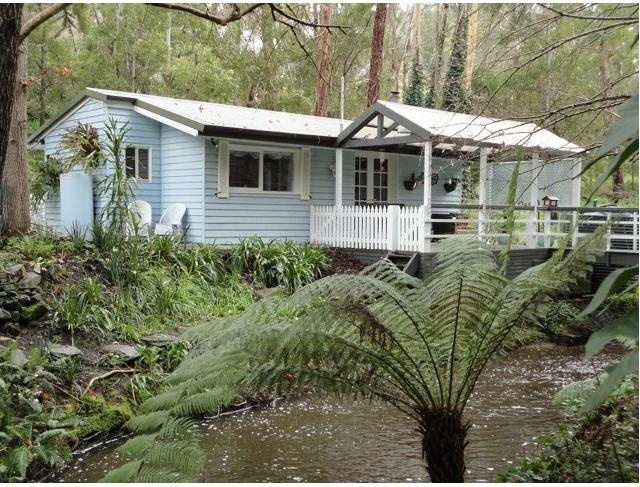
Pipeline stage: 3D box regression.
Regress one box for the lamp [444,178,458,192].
[{"bbox_3d":[4.371,-1.960,17.804,0.286,0.476,0.708,0,1,40],"label":"lamp"}]
